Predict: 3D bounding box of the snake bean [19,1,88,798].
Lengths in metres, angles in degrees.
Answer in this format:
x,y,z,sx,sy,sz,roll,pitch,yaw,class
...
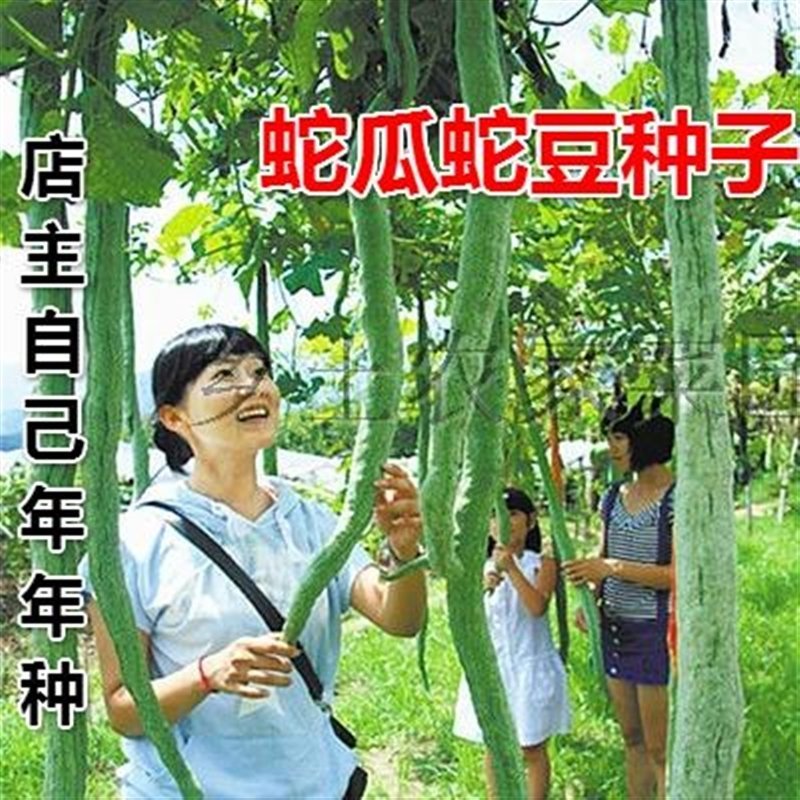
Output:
x,y,z,sx,sy,sz,roll,pitch,yaw,class
-0.463,-0.026,1.345,0.066,1.094,0.058,0,2,-37,snake bean

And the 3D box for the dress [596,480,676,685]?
x,y,z,sx,sy,sz,roll,pitch,yaw,class
0.333,0.259,1.454,0.103,0.289,0.066,6,4,22,dress
